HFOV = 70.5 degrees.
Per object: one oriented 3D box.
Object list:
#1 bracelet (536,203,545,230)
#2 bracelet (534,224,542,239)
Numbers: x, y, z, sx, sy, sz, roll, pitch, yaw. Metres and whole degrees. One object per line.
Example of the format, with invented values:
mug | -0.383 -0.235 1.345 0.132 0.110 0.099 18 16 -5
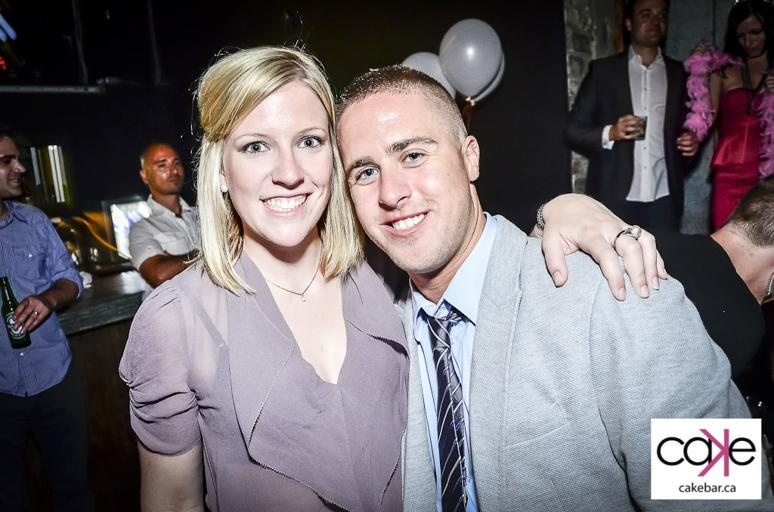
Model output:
bracelet | 0.708 -0.176 2.531 0.071 0.098 0.038 5 -8 -41
bracelet | 0.700 -0.110 2.532 0.032 0.044 0.055 22 -20 -15
